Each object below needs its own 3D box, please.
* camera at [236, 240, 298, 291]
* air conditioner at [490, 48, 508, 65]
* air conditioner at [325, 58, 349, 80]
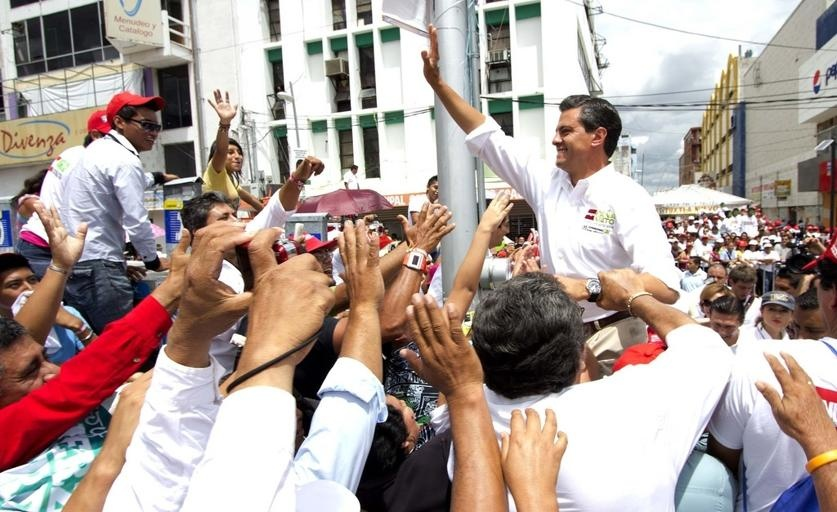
[{"bbox_3d":[-1.041,0.060,4.596,0.244,0.326,0.536,3,8,23],"label":"camera"},{"bbox_3d":[2.807,-6.864,23.128,0.459,0.521,0.686,2,0,-45],"label":"air conditioner"},{"bbox_3d":[-2.980,-6.878,24.685,0.731,0.571,0.762,-3,-4,25],"label":"air conditioner"}]
